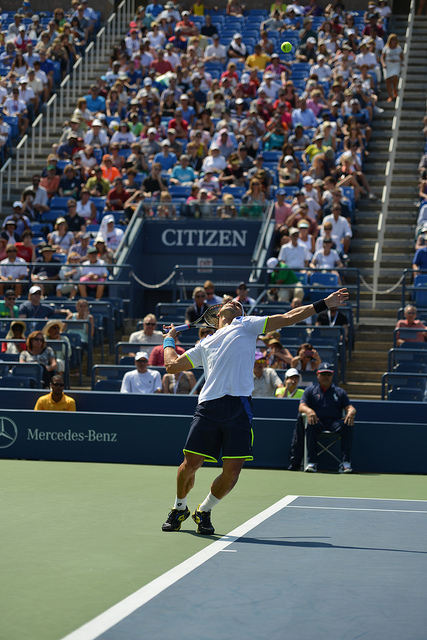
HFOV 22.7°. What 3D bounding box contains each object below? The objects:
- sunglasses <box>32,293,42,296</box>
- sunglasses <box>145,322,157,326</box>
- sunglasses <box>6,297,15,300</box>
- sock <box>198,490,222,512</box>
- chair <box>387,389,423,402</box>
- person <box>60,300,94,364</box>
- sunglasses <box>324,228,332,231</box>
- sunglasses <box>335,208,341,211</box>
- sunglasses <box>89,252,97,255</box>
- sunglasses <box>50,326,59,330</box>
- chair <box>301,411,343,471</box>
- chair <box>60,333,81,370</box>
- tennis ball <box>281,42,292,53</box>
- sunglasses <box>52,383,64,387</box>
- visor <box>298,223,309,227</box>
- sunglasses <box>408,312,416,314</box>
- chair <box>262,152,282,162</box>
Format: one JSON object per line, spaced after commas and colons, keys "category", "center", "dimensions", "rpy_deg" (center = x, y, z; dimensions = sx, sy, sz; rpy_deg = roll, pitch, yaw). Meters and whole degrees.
{"category": "sunglasses", "center": [-2.469, -0.357, 14.932], "dimensions": [0.061, 0.025, 0.172], "rpy_deg": [4, 1, 20]}
{"category": "sunglasses", "center": [-0.818, 0.053, 14.127], "dimensions": [0.105, 0.026, 0.312], "rpy_deg": [4, 1, 17]}
{"category": "sunglasses", "center": [-2.925, -0.309, 15.361], "dimensions": [0.117, 0.019, 0.066], "rpy_deg": [2, 2, -37]}
{"category": "sock", "center": [-0.035, 1.193, 7.080], "dimensions": [0.117, 0.107, 0.112], "rpy_deg": [3, 1, -9]}
{"category": "chair", "center": [2.174, 0.844, 12.048], "dimensions": [0.257, 0.157, 0.182], "rpy_deg": [0, -14, 12]}
{"category": "person", "center": [-1.855, 0.170, 14.555], "dimensions": [0.424, 0.842, 0.474], "rpy_deg": [4, 8, -10]}
{"category": "sunglasses", "center": [1.812, -1.415, 16.728], "dimensions": [0.116, 0.034, 0.147], "rpy_deg": [3, 1, -1]}
{"category": "sunglasses", "center": [2.021, -1.778, 17.262], "dimensions": [0.028, 0.037, 0.163], "rpy_deg": [5, 2, 26]}
{"category": "sunglasses", "center": [-1.904, -1.048, 16.784], "dimensions": [0.063, 0.029, 0.075], "rpy_deg": [3, -6, 2]}
{"category": "sunglasses", "center": [-2.027, 0.093, 13.607], "dimensions": [0.045, 0.023, 0.144], "rpy_deg": [4, 1, 30]}
{"category": "chair", "center": [1.108, 1.191, 10.725], "dimensions": [0.490, 0.561, 0.545], "rpy_deg": [-3, -1, 26]}
{"category": "chair", "center": [-1.902, 0.410, 14.146], "dimensions": [0.303, 0.346, 0.464], "rpy_deg": [4, 1, -7]}
{"category": "tennis ball", "center": [1.695, -6.228, 24.540], "dimensions": [0.248, 0.185, 0.174], "rpy_deg": [4, 1, 2]}
{"category": "sunglasses", "center": [-1.638, 0.675, 11.211], "dimensions": [0.105, 0.030, 0.114], "rpy_deg": [3, 1, -15]}
{"category": "visor", "center": [1.458, -1.509, 17.056], "dimensions": [0.168, 0.051, 0.091], "rpy_deg": [3, 1, -12]}
{"category": "sunglasses", "center": [2.607, -0.090, 13.908], "dimensions": [0.104, 0.015, 0.061], "rpy_deg": [3, 1, -11]}
{"category": "chair", "center": [1.111, -3.041, 19.915], "dimensions": [0.344, 0.126, 0.242], "rpy_deg": [2, 3, -11]}
